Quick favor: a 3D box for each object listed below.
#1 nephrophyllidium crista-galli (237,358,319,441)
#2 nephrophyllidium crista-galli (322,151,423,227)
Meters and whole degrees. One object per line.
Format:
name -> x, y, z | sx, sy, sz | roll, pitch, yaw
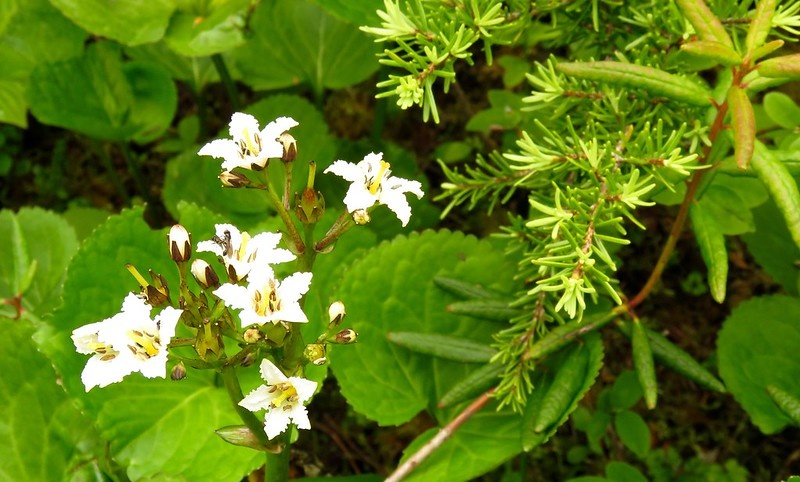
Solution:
nephrophyllidium crista-galli -> -0.312, 0.416, 1.905 | 0.209, 0.205, 0.066 | 14, 14, 4
nephrophyllidium crista-galli -> -0.049, -0.174, 2.008 | 0.201, 0.215, 0.105 | 8, 79, -1
